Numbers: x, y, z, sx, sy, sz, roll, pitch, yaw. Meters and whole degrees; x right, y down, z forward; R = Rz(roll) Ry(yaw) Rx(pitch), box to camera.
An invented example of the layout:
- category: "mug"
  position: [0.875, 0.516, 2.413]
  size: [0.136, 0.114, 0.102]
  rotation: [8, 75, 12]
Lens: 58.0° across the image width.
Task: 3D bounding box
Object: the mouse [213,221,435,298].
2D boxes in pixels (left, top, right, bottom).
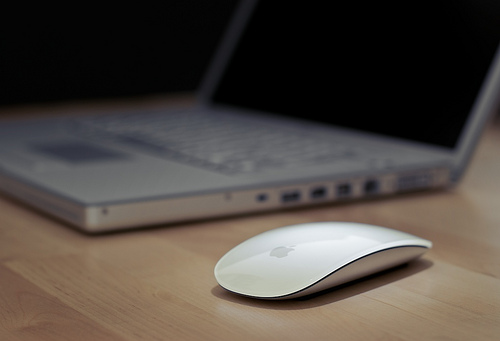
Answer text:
- category: "mouse"
  position: [0.127, 0.123, 0.698]
  size: [0.346, 0.083, 0.195]
  rotation: [-7, 9, -31]
